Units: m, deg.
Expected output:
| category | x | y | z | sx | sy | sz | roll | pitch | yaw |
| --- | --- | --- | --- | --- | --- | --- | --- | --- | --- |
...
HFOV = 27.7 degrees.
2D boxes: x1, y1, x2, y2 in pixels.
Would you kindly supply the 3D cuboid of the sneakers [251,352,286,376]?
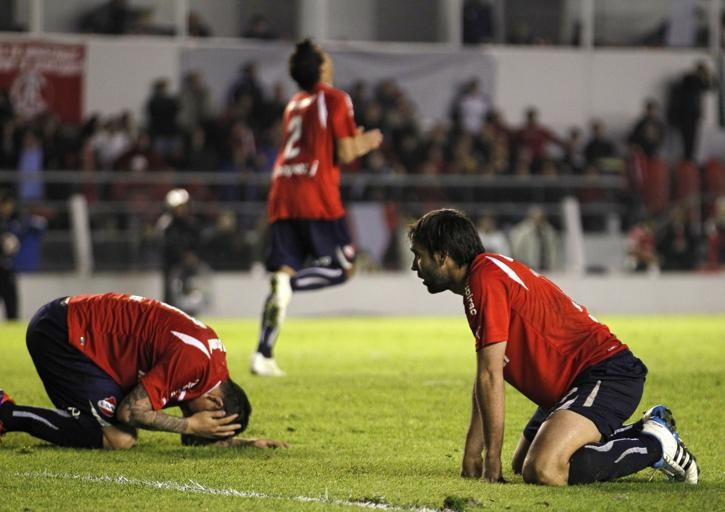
| category | x | y | z | sx | sy | sz | roll | pitch | yaw |
| --- | --- | --- | --- | --- | --- | --- | --- | --- | --- |
| sneakers | -0.985 | 1.059 | 14.498 | 0.449 | 0.197 | 0.150 | 16 | -7 | -41 |
